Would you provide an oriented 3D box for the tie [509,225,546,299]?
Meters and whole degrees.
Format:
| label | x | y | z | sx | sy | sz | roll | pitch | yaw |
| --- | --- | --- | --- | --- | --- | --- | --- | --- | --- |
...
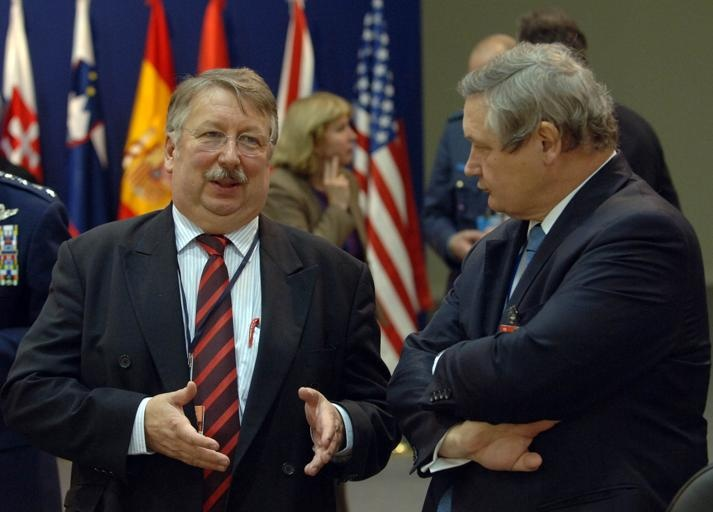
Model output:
| label | x | y | z | sx | sy | sz | roll | pitch | yaw |
| --- | --- | --- | --- | --- | --- | --- | --- | --- | --- |
| tie | 0.624 | -0.012 | 2.904 | 0.073 | 0.352 | 0.040 | 17 | -11 | 20 |
